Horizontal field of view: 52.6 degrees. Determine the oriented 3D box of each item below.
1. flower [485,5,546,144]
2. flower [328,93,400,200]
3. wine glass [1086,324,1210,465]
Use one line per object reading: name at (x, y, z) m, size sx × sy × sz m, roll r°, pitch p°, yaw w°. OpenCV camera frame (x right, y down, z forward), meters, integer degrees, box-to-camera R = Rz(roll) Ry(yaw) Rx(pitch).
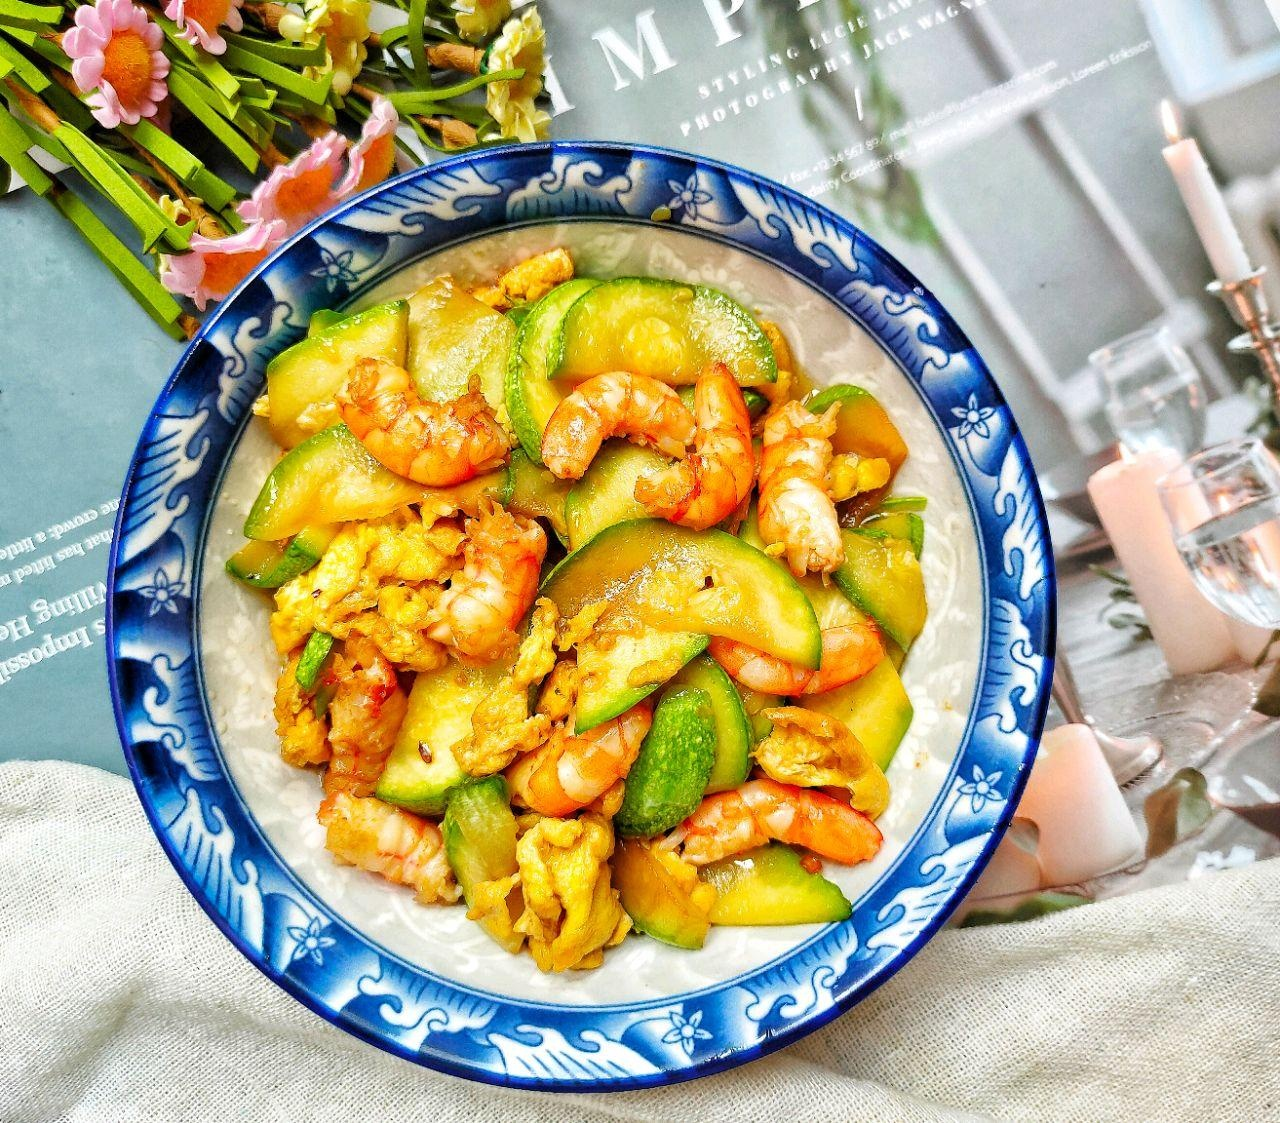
flower at (-0.175, -0.702, 1.900) m, size 0.060 × 0.167 × 0.124 m, roll 3°, pitch 28°, yaw 40°
flower at (-0.418, -0.599, 1.886) m, size 0.048 × 0.139 × 0.136 m, roll 34°, pitch 60°, yaw 23°
wine glass at (0.797, -0.263, 2.054) m, size 0.122 × 0.179 × 0.131 m, roll -22°, pitch -8°, yaw -20°
